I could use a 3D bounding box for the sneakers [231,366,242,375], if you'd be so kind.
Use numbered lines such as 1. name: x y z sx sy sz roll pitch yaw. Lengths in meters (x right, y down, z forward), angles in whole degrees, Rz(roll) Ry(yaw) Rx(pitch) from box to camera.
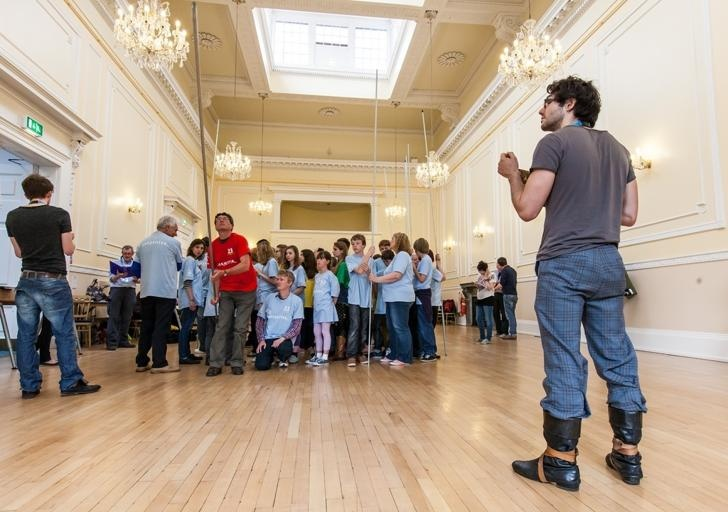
1. sneakers: -1.263 1.139 4.648 0.125 0.074 0.158 0 1 -17

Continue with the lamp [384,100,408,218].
1. lamp: 0.877 -2.552 13.321 0.561 2.884 1.779 0 1 3

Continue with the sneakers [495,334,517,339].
1. sneakers: 2.404 1.377 7.950 0.300 0.136 0.106 2 -6 20

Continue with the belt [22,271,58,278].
1. belt: -2.590 0.148 3.730 0.254 0.049 0.053 0 1 -17

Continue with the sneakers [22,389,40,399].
1. sneakers: -2.650 1.091 3.731 0.050 0.062 0.140 2 3 15

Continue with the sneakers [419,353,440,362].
1. sneakers: 0.781 1.196 5.516 0.088 0.108 0.264 -7 -16 39

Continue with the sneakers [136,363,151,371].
1. sneakers: -2.267 1.146 4.807 0.067 0.074 0.168 1 0 10

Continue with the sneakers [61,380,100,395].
1. sneakers: -2.339 1.071 3.843 0.216 0.104 0.101 -1 -4 -19

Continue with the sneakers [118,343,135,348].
1. sneakers: -3.532 1.325 6.921 0.218 0.093 0.077 1 -7 -8

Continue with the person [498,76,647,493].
1. person: 1.143 0.245 2.524 0.802 1.919 0.285 0 1 -5

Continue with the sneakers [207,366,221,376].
1. sneakers: -1.478 1.130 4.586 0.061 0.080 0.184 -3 -21 3

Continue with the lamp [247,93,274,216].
1. lamp: -2.841 -2.633 12.896 0.591 2.961 1.822 0 1 -12

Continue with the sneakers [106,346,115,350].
1. sneakers: -3.592 1.293 6.596 0.138 0.063 0.048 -8 -5 31

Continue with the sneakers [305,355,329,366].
1. sneakers: -0.529 1.145 5.103 0.213 0.092 0.128 3 -8 0

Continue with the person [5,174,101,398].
1. person: -2.553 0.236 3.779 0.595 1.768 0.295 0 1 -25

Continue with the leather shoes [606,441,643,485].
1. leather shoes: 1.378 1.103 2.523 0.098 0.190 0.268 -1 -2 4
